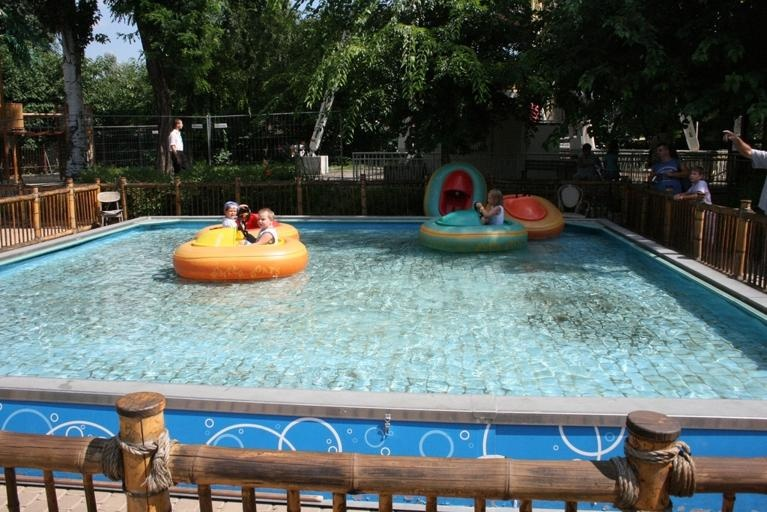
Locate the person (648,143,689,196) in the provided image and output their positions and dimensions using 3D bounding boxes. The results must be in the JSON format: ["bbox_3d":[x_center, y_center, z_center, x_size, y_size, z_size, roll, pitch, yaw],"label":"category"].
[{"bbox_3d":[5.887,-1.573,11.942,0.760,1.443,0.512,-4,-13,39],"label":"person"}]

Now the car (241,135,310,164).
[{"bbox_3d":[-4.133,-3.749,20.527,2.053,1.029,0.799,1,-3,14],"label":"car"}]

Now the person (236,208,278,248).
[{"bbox_3d":[-2.273,-0.460,10.305,0.847,0.780,0.570,1,17,-32],"label":"person"}]

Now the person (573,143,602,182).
[{"bbox_3d":[5.942,-2.682,16.726,0.713,1.093,0.967,0,-3,19],"label":"person"}]

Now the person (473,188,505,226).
[{"bbox_3d":[2.233,-0.982,12.135,0.612,0.831,0.596,-1,12,9],"label":"person"}]

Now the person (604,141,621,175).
[{"bbox_3d":[6.525,-2.766,16.536,0.364,1.190,0.791,0,-3,20],"label":"person"}]
